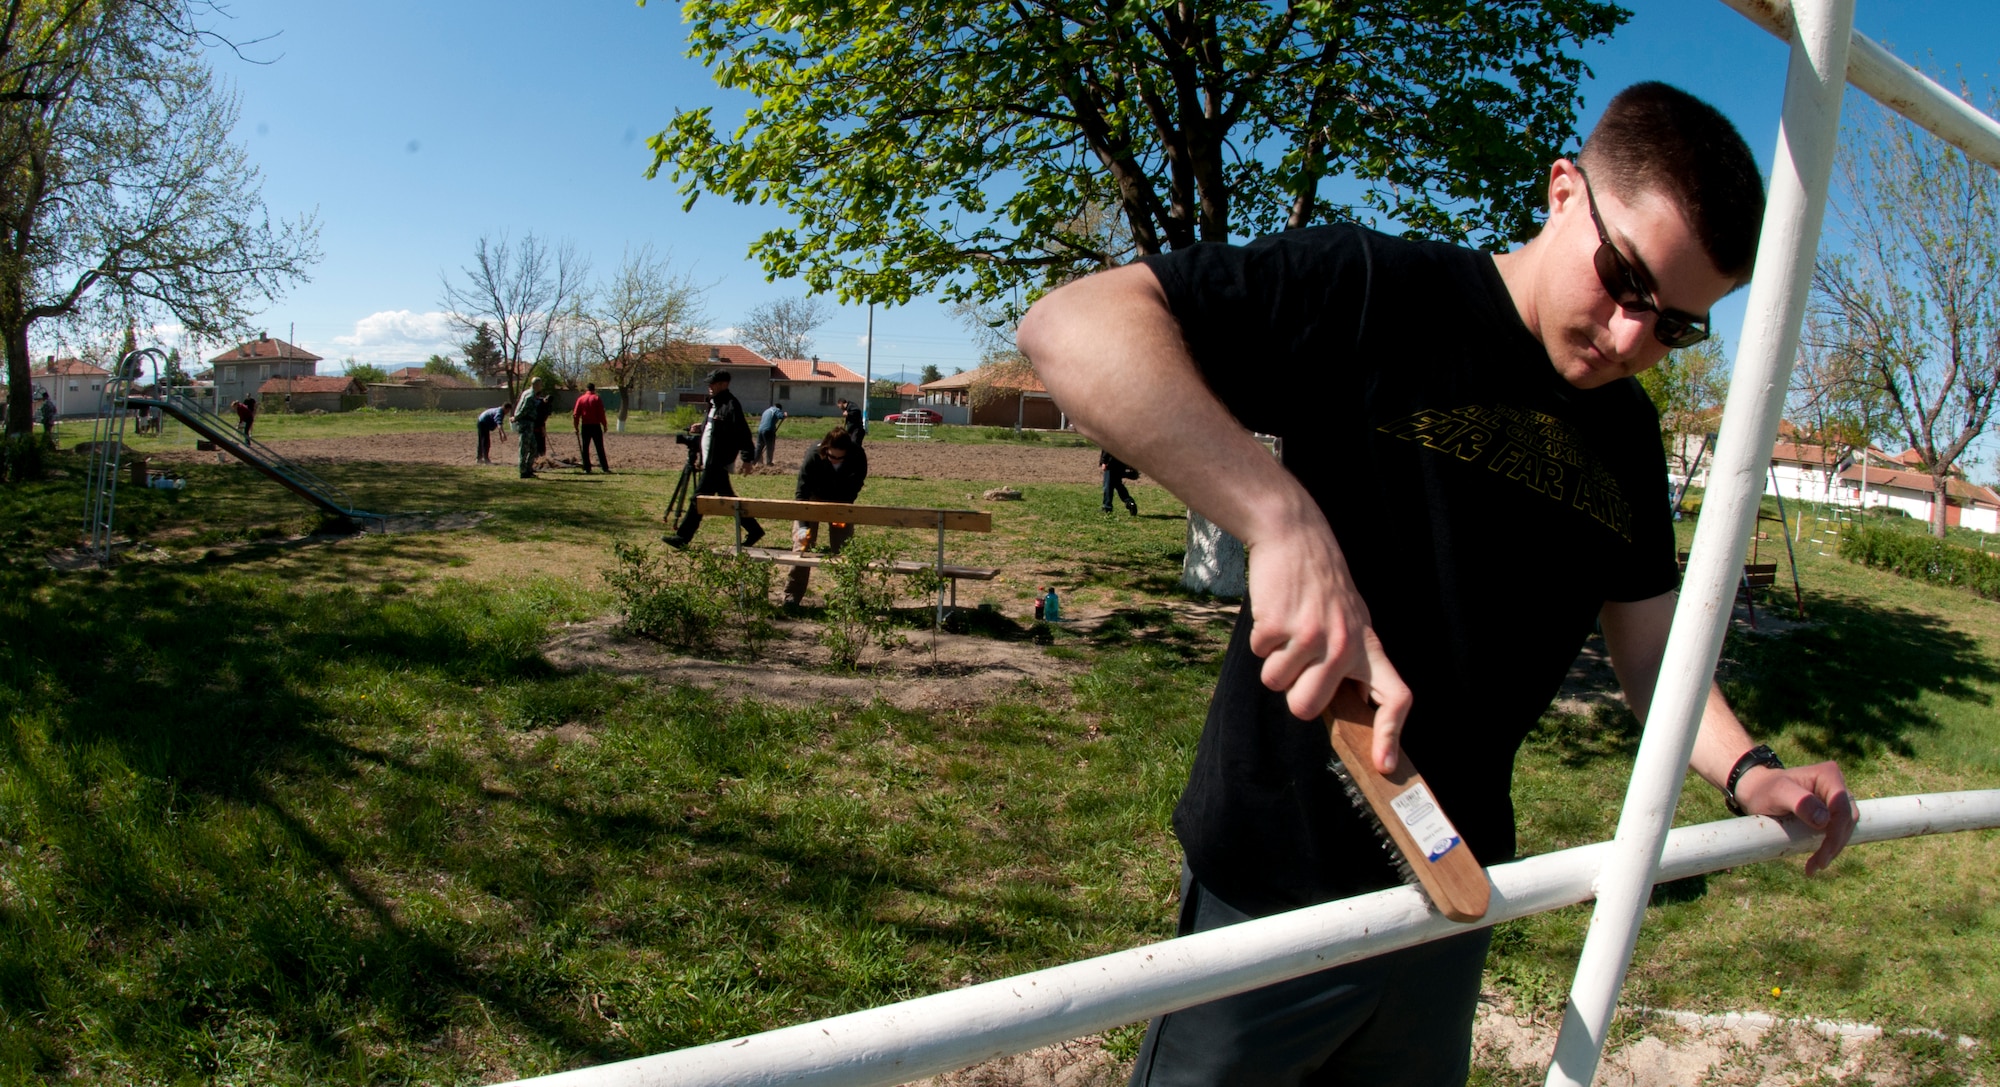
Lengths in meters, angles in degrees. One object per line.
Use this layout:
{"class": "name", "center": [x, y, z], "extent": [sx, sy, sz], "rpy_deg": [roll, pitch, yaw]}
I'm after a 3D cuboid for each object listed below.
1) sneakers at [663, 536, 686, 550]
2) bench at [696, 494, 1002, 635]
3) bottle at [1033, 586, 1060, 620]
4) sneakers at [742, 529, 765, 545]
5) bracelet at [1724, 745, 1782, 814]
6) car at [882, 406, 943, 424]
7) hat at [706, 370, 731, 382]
{"class": "sneakers", "center": [-4.383, -0.034, 16.125], "extent": [0.201, 0.167, 0.665], "rpy_deg": [-23, 18, -16]}
{"class": "bench", "center": [-1.751, 0.151, 12.966], "extent": [3.255, 1.165, 0.906], "rpy_deg": [3, 3, -2]}
{"class": "bottle", "center": [0.605, 0.764, 14.116], "extent": [0.337, 0.370, 0.329], "rpy_deg": [8, -7, -25]}
{"class": "sneakers", "center": [-3.298, -0.067, 15.934], "extent": [0.091, 0.194, 0.265], "rpy_deg": [-2, -4, -39]}
{"class": "bracelet", "center": [3.353, 1.060, 5.314], "extent": [0.255, 0.156, 0.260], "rpy_deg": [8, 51, 27]}
{"class": "car", "center": [-4.494, -6.762, 64.042], "extent": [1.780, 0.868, 7.648], "rpy_deg": [5, 5, 4]}
{"class": "hat", "center": [-3.877, -2.311, 16.651], "extent": [0.318, 0.091, 0.302], "rpy_deg": [2, 5, 15]}
